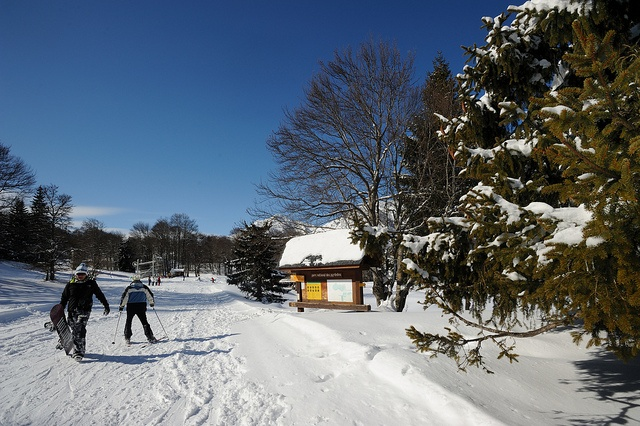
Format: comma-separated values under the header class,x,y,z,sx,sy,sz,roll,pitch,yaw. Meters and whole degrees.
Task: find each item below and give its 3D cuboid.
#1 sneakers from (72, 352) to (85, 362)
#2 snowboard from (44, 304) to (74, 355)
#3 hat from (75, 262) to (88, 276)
class,x,y,z,sx,sy,sz,roll,pitch,yaw
sneakers,-6.248,3.661,11.273,0.250,0.172,0.448,-4,5,-33
snowboard,-6.821,3.090,11.649,0.333,1.506,0.131,-14,31,-23
hat,-6.706,1.569,12.266,0.264,0.339,0.397,10,-19,-38
